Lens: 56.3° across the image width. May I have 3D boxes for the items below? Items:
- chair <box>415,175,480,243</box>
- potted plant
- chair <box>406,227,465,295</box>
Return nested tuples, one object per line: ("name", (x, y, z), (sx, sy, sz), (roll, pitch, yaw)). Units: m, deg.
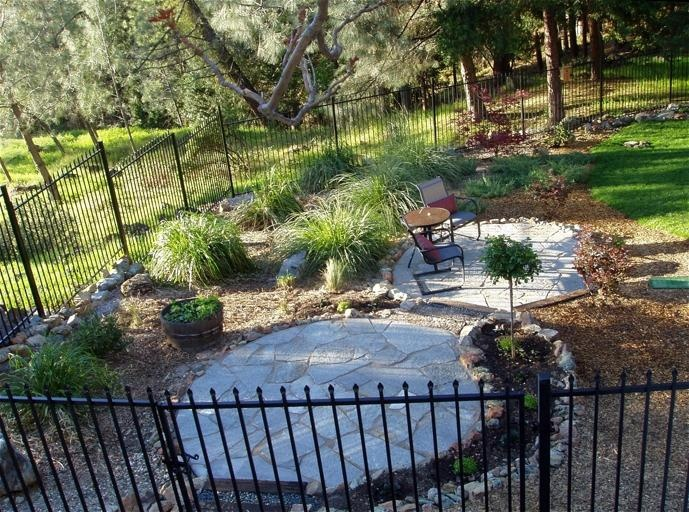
("chair", (1.970, -0.820, 12.233), (0.902, 1.249, 0.881), (12, 28, 43))
("potted plant", (-2.366, 1.048, 10.295), (0.833, 0.532, 0.856), (-1, 27, 1))
("chair", (1.602, -0.062, 11.328), (0.994, 0.977, 0.844), (-3, 17, 3))
